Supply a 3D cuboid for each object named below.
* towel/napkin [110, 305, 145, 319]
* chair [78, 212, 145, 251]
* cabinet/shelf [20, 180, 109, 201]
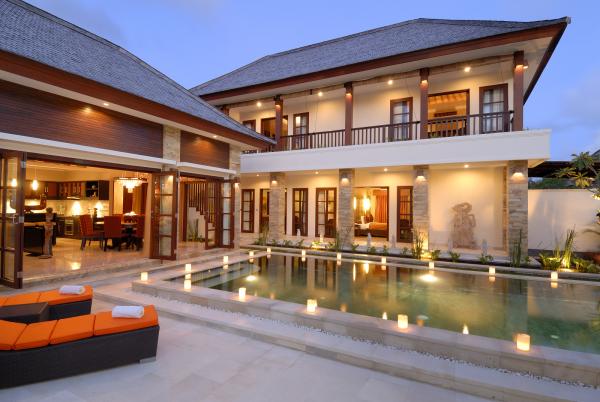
[{"bbox_3d":[-3.339,2.157,8.430,0.393,0.121,0.302,1,0,0],"label":"towel/napkin"},{"bbox_3d":[-6.445,1.062,14.665,1.694,0.720,1.647,0,0,10],"label":"chair"},{"bbox_3d":[-9.369,-0.468,17.356,2.954,0.893,1.492,-2,-3,20],"label":"cabinet/shelf"}]
